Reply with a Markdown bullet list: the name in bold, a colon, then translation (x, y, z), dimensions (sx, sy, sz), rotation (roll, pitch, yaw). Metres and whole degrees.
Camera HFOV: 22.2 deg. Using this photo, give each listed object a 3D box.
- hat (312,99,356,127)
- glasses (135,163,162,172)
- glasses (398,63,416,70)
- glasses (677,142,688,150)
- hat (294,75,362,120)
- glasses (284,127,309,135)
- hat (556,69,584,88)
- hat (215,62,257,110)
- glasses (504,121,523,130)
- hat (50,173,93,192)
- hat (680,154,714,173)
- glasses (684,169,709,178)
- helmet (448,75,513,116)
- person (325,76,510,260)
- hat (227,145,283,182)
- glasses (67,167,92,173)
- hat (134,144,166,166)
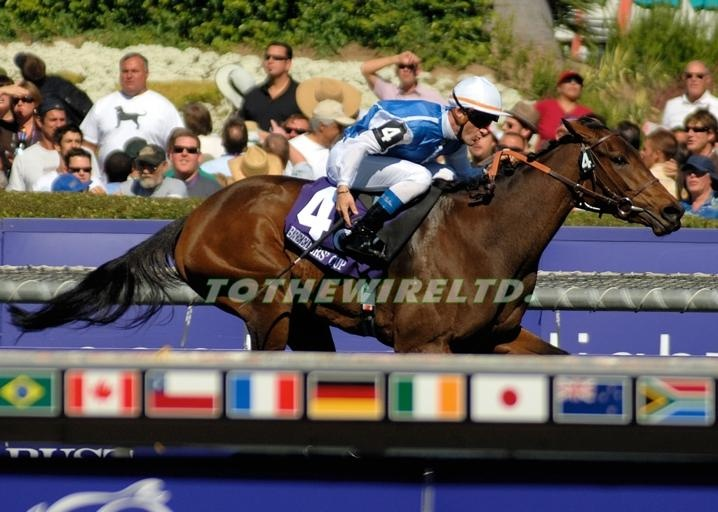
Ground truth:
- **hat**: translation (-0.236, -1.216, 15.577), dimensions (0.242, 0.105, 0.293), rotation (-13, 24, -35)
- **glasses**: translation (-1.712, -0.731, 15.024), dimensions (0.186, 0.069, 0.052), rotation (1, 27, -2)
- **glasses**: translation (0.460, -1.664, 16.079), dimensions (0.167, 0.082, 0.063), rotation (-5, 28, -16)
- **glasses**: translation (2.799, -0.941, 15.636), dimensions (0.111, 0.053, 0.031), rotation (0, -15, 16)
- **hat**: translation (-0.251, -1.401, 16.091), dimensions (0.425, 0.121, 0.477), rotation (40, 49, 9)
- **glasses**: translation (-0.509, -1.076, 15.731), dimensions (0.137, 0.028, 0.072), rotation (15, 52, 35)
- **hat**: translation (1.912, -1.578, 16.379), dimensions (0.343, 0.135, 0.452), rotation (2, -1, -1)
- **hat**: translation (-1.060, -1.575, 17.057), dimensions (0.426, 0.125, 0.411), rotation (27, 27, -42)
- **glasses**: translation (1.363, -1.134, 15.860), dimensions (0.107, 0.098, 0.070), rotation (-2, 67, -30)
- **hat**: translation (-2.378, -0.606, 15.114), dimensions (0.319, 0.133, 0.146), rotation (2, 26, -1)
- **hat**: translation (2.914, -0.761, 15.468), dimensions (0.278, 0.141, 0.170), rotation (8, 27, 11)
- **glasses**: translation (2.883, -0.707, 15.438), dimensions (0.092, 0.040, 0.135), rotation (20, 9, 34)
- **helmet**: translation (0.882, -1.137, 12.954), dimensions (0.501, 0.272, 0.386), rotation (11, 4, 42)
- **person**: translation (0.506, -0.635, 13.146), dimensions (1.340, 1.281, 0.922), rotation (12, 8, -11)
- **hat**: translation (-0.858, -0.750, 15.213), dimensions (0.475, 0.277, 0.284), rotation (14, 29, 23)
- **glasses**: translation (-2.306, -0.711, 15.133), dimensions (0.185, 0.048, 0.069), rotation (-1, 26, -8)
- **hat**: translation (-1.706, -0.837, 15.074), dimensions (0.240, 0.119, 0.208), rotation (6, 26, 7)
